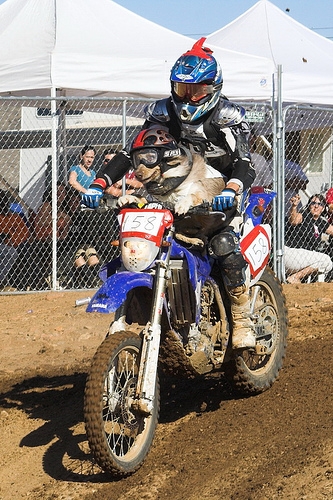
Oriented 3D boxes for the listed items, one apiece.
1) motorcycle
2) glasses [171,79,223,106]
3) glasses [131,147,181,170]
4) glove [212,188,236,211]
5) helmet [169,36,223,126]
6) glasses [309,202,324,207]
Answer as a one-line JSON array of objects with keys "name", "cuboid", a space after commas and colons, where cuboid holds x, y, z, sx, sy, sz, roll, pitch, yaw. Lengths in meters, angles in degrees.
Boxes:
[{"name": "motorcycle", "cuboid": [0.170, 0.336, 2.924, 0.719, 1.260, 2.023, -4, 3, 32]}, {"name": "glasses", "cuboid": [0.181, -0.896, 2.826, 0.288, 0.136, 0.185, -8, 0, 0]}, {"name": "glasses", "cuboid": [-0.048, -0.461, 2.503, 0.259, 0.106, 0.105, -8, 1, -4]}, {"name": "glove", "cuboid": [0.281, -0.249, 2.463, 0.123, 0.108, 0.093, -8, 1, 6]}, {"name": "helmet", "cuboid": [0.192, -1.005, 2.900, 0.272, 0.397, 0.416, 19, 41, 30]}, {"name": "glasses", "cuboid": [2.566, -0.767, 8.442, 0.142, 0.051, 0.108, 21, -9, -7]}]
